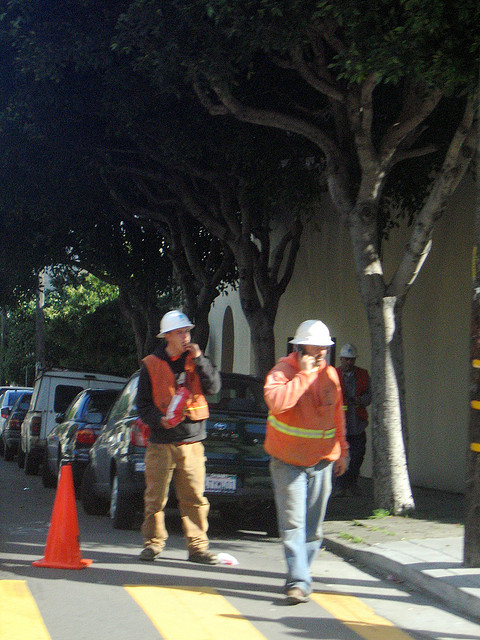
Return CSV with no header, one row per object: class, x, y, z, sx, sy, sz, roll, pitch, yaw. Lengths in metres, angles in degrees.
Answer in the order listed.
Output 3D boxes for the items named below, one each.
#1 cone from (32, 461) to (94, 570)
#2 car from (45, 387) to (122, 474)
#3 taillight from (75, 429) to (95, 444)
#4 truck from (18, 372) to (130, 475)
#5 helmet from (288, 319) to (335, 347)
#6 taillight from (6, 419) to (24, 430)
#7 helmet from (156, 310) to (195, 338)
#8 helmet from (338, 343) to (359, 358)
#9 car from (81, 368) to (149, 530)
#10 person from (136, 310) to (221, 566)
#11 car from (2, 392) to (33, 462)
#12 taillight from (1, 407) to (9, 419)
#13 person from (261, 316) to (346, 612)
cone,-1.211,1.346,6.479,0.414,0.734,0.400,4,-10,-11
car,-2.148,1.473,12.470,0.850,0.954,1.903,1,-1,-11
taillight,-1.955,1.457,11.643,0.343,0.185,0.108,-8,-14,42
truck,-3.071,1.813,16.618,1.390,1.745,2.748,1,-2,-14
helmet,0.403,0.083,5.478,0.175,0.114,0.160,-2,1,18
taillight,-4.807,2.240,19.985,0.217,0.199,0.392,2,-9,-15
helmet,-0.461,-0.005,6.730,0.177,0.128,0.214,-19,5,18
helmet,1.317,0.378,11.527,0.154,0.156,0.222,0,0,2
car,-1.165,1.327,8.888,0.711,0.928,1.738,0,-1,-9
person,-0.448,0.834,6.702,0.593,1.796,0.540,2,-10,0
car,-4.877,2.390,20.694,0.852,1.045,2.053,0,-1,-7
taillight,-5.862,2.305,23.321,0.186,0.293,0.477,5,-12,-15
person,0.384,0.842,5.472,0.603,1.669,0.467,4,-10,-15
